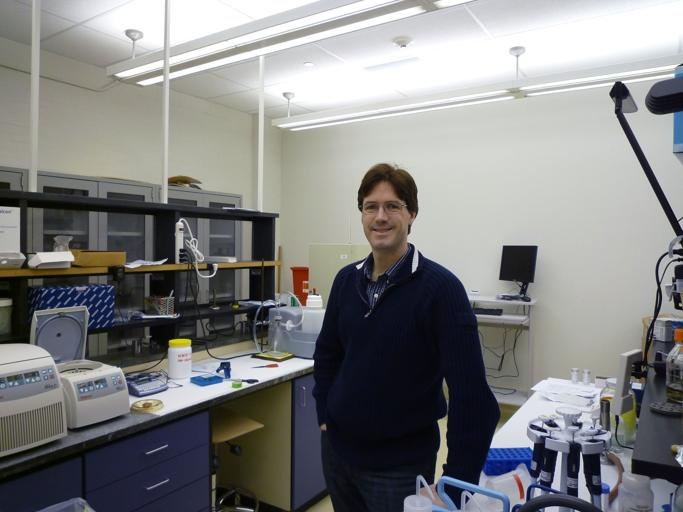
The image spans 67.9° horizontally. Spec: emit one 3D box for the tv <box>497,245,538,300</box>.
[{"bbox_3d":[1.868,0.170,5.384,0.391,0.549,0.382,-1,0,22],"label":"tv"}]

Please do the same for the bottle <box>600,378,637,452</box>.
[{"bbox_3d":[1.388,0.783,2.549,0.130,0.257,0.138,2,-8,0],"label":"bottle"}]

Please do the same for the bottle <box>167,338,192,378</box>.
[{"bbox_3d":[-1.050,0.669,3.287,0.149,0.235,0.148,1,1,0],"label":"bottle"}]
